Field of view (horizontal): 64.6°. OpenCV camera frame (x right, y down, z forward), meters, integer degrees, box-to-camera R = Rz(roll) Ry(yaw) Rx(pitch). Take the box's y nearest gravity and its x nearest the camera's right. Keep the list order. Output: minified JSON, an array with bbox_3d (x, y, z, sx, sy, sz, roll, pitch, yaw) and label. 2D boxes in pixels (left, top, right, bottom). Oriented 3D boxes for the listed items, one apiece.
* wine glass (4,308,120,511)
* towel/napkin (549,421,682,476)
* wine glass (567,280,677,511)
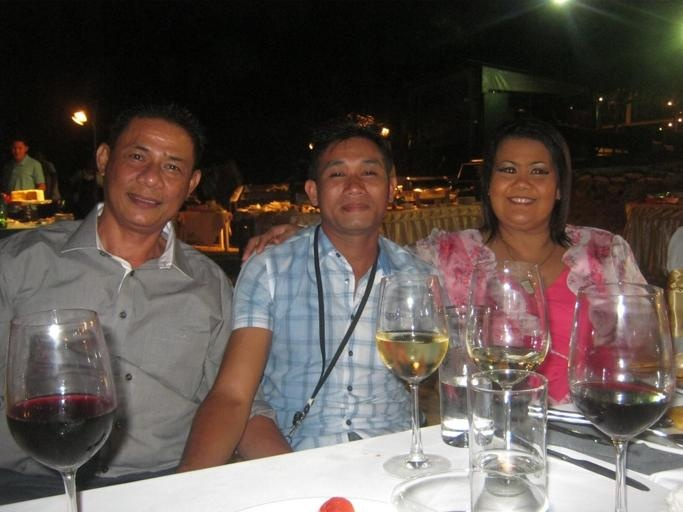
[{"bbox_3d":[-0.576,0.298,1.114,0.196,0.373,0.136,0,1,19],"label":"wine glass"},{"bbox_3d":[0.651,0.475,1.358,0.106,0.018,0.345,-9,16,-40],"label":"towel/napkin"},{"bbox_3d":[0.599,0.285,1.153,0.216,0.446,0.155,-1,1,-19],"label":"wine glass"}]
